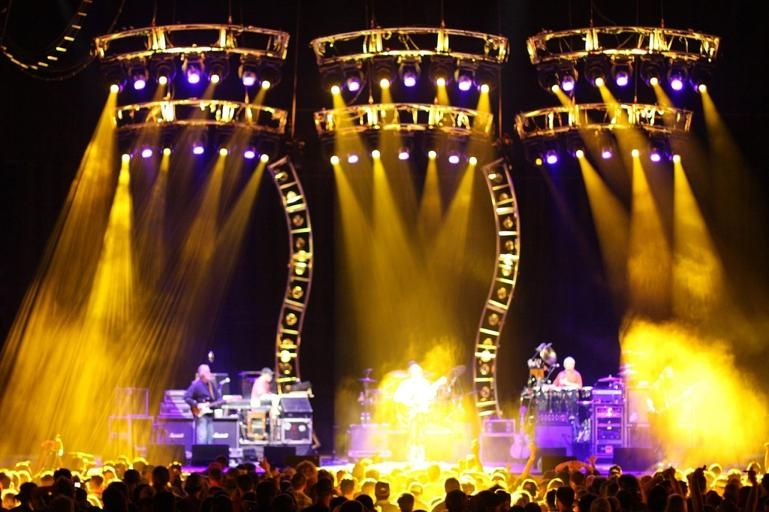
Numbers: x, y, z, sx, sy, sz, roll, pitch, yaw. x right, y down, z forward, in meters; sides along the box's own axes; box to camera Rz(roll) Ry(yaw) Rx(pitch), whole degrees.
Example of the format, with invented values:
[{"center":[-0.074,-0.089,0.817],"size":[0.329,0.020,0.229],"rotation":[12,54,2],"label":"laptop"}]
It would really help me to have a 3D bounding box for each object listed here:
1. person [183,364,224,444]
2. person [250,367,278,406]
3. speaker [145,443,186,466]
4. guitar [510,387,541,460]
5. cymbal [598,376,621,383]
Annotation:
[{"center":[-3.532,2.952,20.496],"size":[0.558,1.597,0.796],"rotation":[-11,-27,30],"label":"person"},{"center":[-2.465,2.663,21.006],"size":[0.451,0.859,0.403],"rotation":[6,-23,-7],"label":"person"},{"center":[-4.048,3.668,19.386],"size":[0.732,0.456,0.754],"rotation":[0,-4,6],"label":"speaker"},{"center":[2.785,3.296,20.407],"size":[0.591,1.506,0.238],"rotation":[0,-8,27],"label":"guitar"},{"center":[4.529,2.498,20.990],"size":[0.278,0.121,0.282],"rotation":[-6,-11,35],"label":"cymbal"}]
